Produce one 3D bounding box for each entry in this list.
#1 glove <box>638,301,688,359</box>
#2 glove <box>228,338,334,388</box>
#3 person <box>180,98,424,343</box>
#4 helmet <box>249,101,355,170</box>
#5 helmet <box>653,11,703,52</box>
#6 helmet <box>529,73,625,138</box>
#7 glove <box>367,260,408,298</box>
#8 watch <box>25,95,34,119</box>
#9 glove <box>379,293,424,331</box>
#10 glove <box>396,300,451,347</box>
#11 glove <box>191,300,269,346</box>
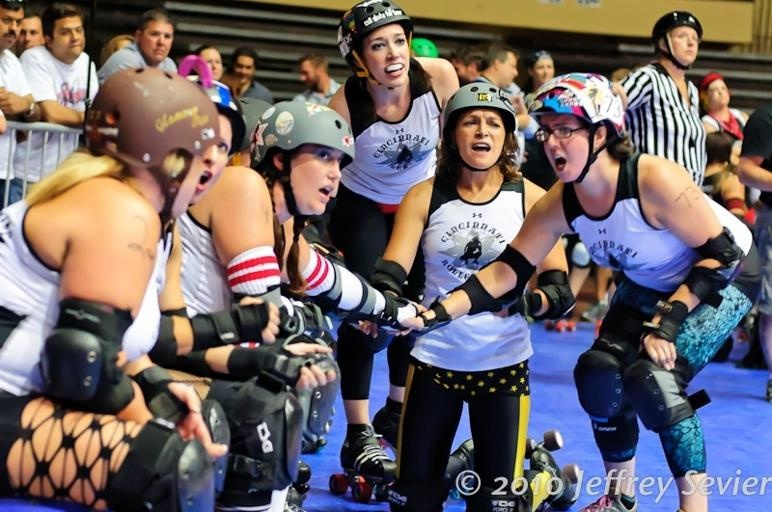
[{"bbox_3d":[1.560,0.406,5.258,0.188,0.279,0.111,21,-9,9],"label":"glove"},{"bbox_3d":[-0.533,0.524,4.691,0.341,0.156,0.282,11,2,10],"label":"glove"},{"bbox_3d":[-0.427,-0.103,5.038,1.357,1.650,0.996,3,13,-3],"label":"person"},{"bbox_3d":[-0.463,-0.651,5.176,0.435,0.395,0.363,18,2,10],"label":"helmet"},{"bbox_3d":[2.318,-1.860,7.521,0.352,0.335,0.350,10,14,37],"label":"helmet"},{"bbox_3d":[1.128,-0.876,5.372,0.568,0.502,0.420,-12,15,-42],"label":"helmet"},{"bbox_3d":[0.023,0.126,5.504,0.200,0.189,0.183,34,-6,25],"label":"glove"},{"bbox_3d":[-2.730,-1.151,7.146,0.078,0.132,0.047,-5,-11,25],"label":"watch"},{"bbox_3d":[0.085,0.342,5.412,0.226,0.245,0.175,28,7,-3],"label":"glove"},{"bbox_3d":[0.225,0.356,5.310,0.222,0.101,0.186,-25,18,6],"label":"glove"},{"bbox_3d":[-0.771,0.344,4.601,0.289,0.185,0.208,-6,-7,-19],"label":"glove"}]
